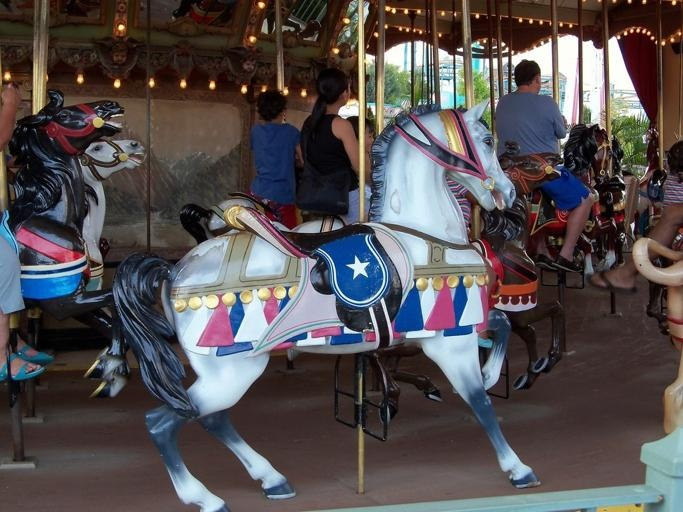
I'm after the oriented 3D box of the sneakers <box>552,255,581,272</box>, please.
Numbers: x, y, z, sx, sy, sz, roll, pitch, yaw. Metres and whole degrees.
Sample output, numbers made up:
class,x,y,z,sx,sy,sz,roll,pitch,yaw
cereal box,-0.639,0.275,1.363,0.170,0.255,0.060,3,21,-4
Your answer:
class,x,y,z,sx,sy,sz,roll,pitch,yaw
sneakers,2.140,0.077,6.024,0.342,0.144,0.126,11,5,-37

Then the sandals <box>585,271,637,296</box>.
class,x,y,z,sx,sy,sz,roll,pitch,yaw
sandals,1.303,0.142,3.083,0.200,0.057,0.109,15,13,18
